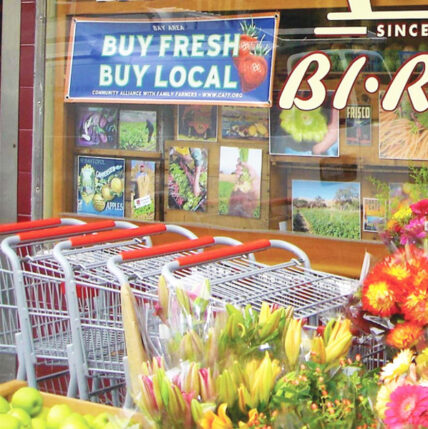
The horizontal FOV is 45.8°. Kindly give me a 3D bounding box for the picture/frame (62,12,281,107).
[{"bbox_3d":[-0.358,-0.985,3.239,1.602,0.553,0.012,8,12,25],"label":"picture/frame"}]
